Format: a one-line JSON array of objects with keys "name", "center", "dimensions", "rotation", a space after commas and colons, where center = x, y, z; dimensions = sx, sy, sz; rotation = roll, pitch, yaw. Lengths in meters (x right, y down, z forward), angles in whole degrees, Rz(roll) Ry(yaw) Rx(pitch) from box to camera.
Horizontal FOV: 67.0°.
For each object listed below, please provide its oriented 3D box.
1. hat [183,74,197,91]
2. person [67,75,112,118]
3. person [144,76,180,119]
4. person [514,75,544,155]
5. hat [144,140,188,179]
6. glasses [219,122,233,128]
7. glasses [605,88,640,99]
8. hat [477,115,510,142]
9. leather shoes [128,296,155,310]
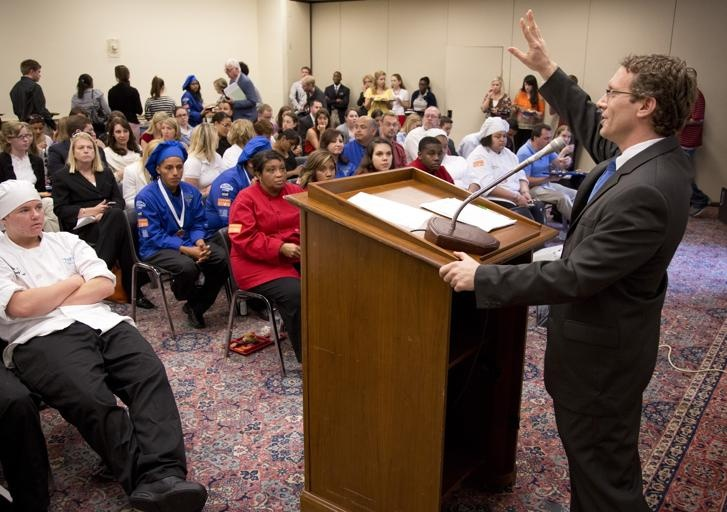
[{"name": "hat", "center": [-2.944, -2.930, 9.343], "dimensions": [0.201, 0.237, 0.384], "rotation": [-9, 18, -24]}, {"name": "person", "center": [-4.623, -2.677, 9.292], "dimensions": [0.535, 0.817, 0.540], "rotation": [6, 40, 4]}, {"name": "person", "center": [-3.320, -2.557, 9.092], "dimensions": [0.544, 0.792, 0.394], "rotation": [-8, 20, -17]}, {"name": "person", "center": [2.942, -2.439, 9.894], "dimensions": [0.531, 1.560, 0.457], "rotation": [10, 40, 18]}, {"name": "hat", "center": [-1.715, -0.830, 4.770], "dimensions": [0.335, 0.331, 0.270], "rotation": [-7, 18, -18]}, {"name": "glasses", "center": [-1.805, -1.713, 7.169], "dimensions": [0.113, 0.038, 0.110], "rotation": [5, 11, 34]}, {"name": "glasses", "center": [1.010, -0.640, 2.159], "dimensions": [0.078, 0.022, 0.077], "rotation": [10, 15, 15]}, {"name": "hat", "center": [1.560, -1.547, 6.497], "dimensions": [0.323, 0.301, 0.401], "rotation": [6, 6, -12]}, {"name": "leather shoes", "center": [-2.007, 0.427, 4.990], "dimensions": [0.227, 0.092, 0.079], "rotation": [6, 16, 13]}]
